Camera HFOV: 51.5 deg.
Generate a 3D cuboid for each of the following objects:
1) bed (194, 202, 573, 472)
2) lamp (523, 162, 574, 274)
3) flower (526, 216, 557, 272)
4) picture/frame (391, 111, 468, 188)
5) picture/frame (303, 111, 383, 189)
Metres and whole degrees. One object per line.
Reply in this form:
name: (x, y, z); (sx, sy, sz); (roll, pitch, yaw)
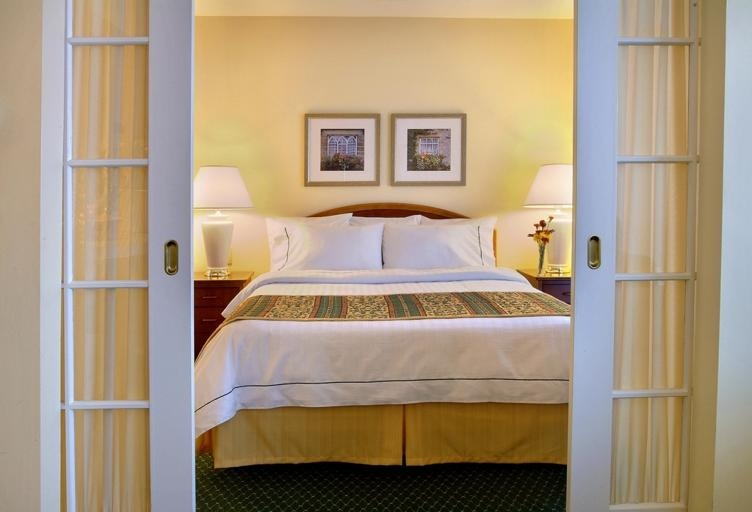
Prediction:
bed: (0.038, 0.477, 4.420); (1.392, 0.929, 1.453); (-1, 0, -2)
lamp: (1.341, -0.268, 5.782); (0.435, 0.822, 0.442); (-2, -5, 39)
flower: (1.233, -0.077, 5.816); (0.172, 0.408, 0.175); (-5, 2, -35)
picture/frame: (0.403, -0.844, 6.016); (0.541, 0.548, 0.048); (0, 1, -2)
picture/frame: (-0.278, -0.839, 5.986); (0.551, 0.564, 0.044); (0, 1, -4)
